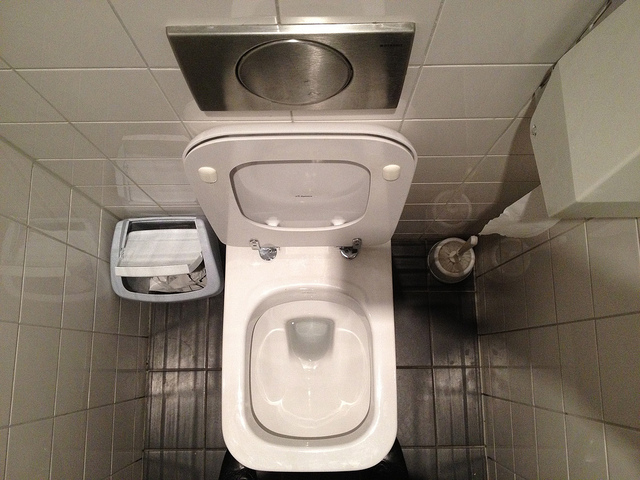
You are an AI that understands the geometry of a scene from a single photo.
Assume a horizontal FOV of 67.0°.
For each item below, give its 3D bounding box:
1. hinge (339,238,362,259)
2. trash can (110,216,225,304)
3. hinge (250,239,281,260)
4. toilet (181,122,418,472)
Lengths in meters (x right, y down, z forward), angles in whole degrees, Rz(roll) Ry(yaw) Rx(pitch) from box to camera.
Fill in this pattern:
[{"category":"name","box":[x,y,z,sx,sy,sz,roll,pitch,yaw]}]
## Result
[{"category":"hinge","box":[0.123,0.035,1.885,0.067,0.129,0.086,-1,75,1]},{"category":"trash can","box":[-0.649,0.060,2.144,0.427,0.431,0.378,-1,94,-8]},{"category":"hinge","box":[-0.215,0.043,1.892,0.098,0.103,0.064,0,89,-4]},{"category":"toilet","box":[-0.033,0.233,1.618,0.690,0.825,0.961,-4,71,-3]}]
